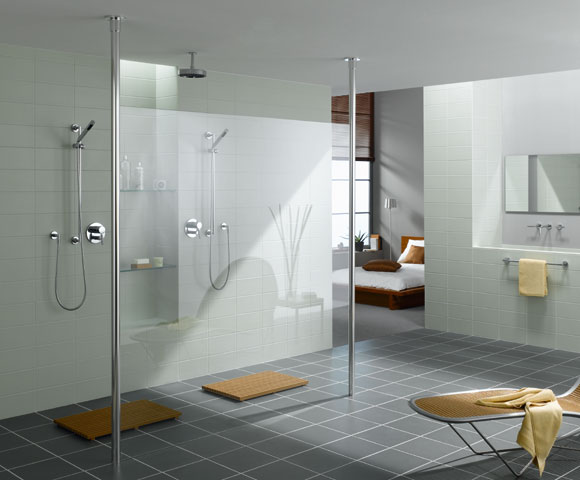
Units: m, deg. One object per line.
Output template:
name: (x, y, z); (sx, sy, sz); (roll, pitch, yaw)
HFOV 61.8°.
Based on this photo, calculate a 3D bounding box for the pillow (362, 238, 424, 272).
pillow: (2.181, 0.285, 9.473); (1.039, 0.353, 0.708); (-2, 2, -41)

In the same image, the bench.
bench: (1.388, 1.159, 3.132); (1.225, 0.422, 0.476); (0, -2, -29)

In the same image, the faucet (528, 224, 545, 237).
faucet: (3.205, -0.135, 6.299); (0.043, 0.129, 0.178); (-6, 8, -39)

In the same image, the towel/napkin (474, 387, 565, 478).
towel/napkin: (1.428, 1.051, 2.839); (0.410, 0.365, 0.540); (-2, 1, -32)

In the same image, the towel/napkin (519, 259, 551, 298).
towel/napkin: (2.918, 0.444, 5.831); (0.069, 0.420, 0.295); (-1, 2, -44)

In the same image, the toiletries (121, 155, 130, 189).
toiletries: (-1.424, -0.583, 4.197); (0.075, 0.309, 0.022); (-1, 2, -35)
